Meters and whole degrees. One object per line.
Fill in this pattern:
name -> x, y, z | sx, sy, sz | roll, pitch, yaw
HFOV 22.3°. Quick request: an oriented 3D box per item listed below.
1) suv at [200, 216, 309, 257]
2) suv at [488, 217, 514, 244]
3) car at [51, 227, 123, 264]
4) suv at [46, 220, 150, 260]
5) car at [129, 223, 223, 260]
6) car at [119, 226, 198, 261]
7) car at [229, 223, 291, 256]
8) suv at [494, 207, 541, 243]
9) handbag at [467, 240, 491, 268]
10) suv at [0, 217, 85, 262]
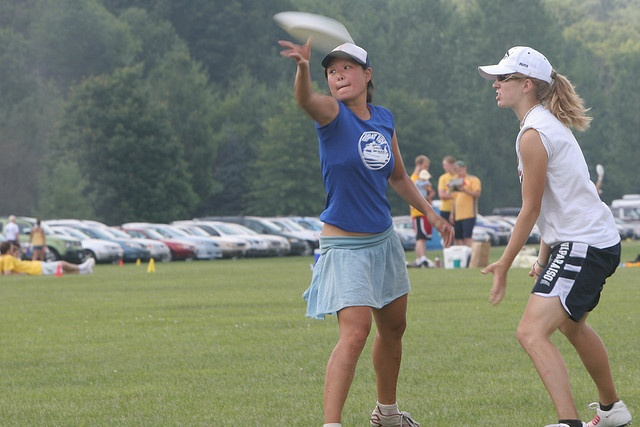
suv -> -3.333, 1.671, 110.538 | 5.643, 2.028, 2.672 | 0, 0, 1
suv -> 12.496, 1.427, 117.806 | 2.882, 1.499, 1.450 | -1, 2, 1
car -> -14.606, 2.031, 102.368 | 4.376, 1.602, 2.084 | 2, 1, 6
suv -> -14.023, 2.061, 104.086 | 6.123, 2.195, 2.701 | 4, 0, 9
car -> -9.323, 1.810, 106.121 | 5.783, 1.863, 2.566 | 1, 1, 17
car -> -10.579, 2.090, 105.575 | 5.084, 1.804, 2.008 | 3, 3, 27
car -> -4.159, 1.892, 108.626 | 3.558, 1.390, 1.818 | -1, -1, 35
suv -> 16.775, 1.259, 137.144 | 4.745, 2.645, 2.876 | -3, 2, 7
handbag -> 9.061, 2.439, 94.201 | 1.059, 2.201, 1.190 | 10, 11, 22
suv -> -17.293, 1.732, 101.219 | 4.990, 2.551, 2.547 | 0, 0, 0
